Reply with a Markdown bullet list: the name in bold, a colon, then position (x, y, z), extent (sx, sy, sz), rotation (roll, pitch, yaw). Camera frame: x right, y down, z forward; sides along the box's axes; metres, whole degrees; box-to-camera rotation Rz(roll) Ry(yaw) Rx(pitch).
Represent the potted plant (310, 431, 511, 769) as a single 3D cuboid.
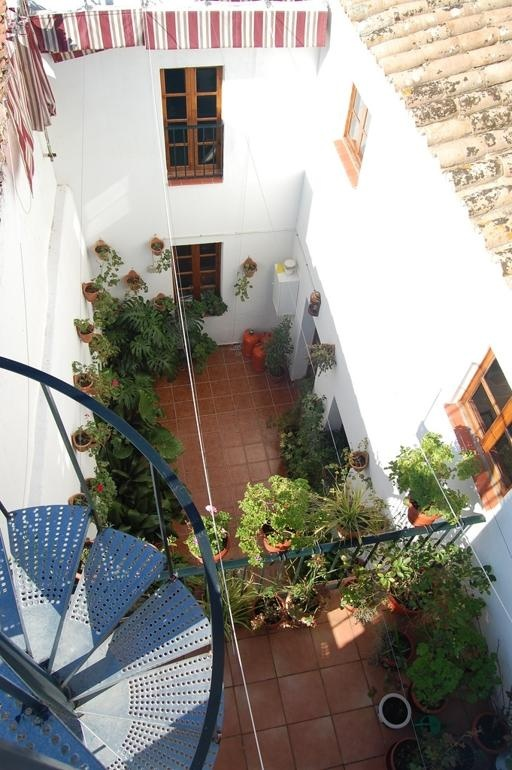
- **potted plant**: position (1.388, 1.668, 5.040), extent (1.471, 0.982, 2.586), rotation (-13, 82, 3)
